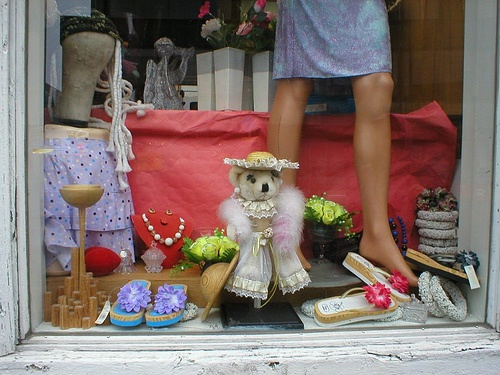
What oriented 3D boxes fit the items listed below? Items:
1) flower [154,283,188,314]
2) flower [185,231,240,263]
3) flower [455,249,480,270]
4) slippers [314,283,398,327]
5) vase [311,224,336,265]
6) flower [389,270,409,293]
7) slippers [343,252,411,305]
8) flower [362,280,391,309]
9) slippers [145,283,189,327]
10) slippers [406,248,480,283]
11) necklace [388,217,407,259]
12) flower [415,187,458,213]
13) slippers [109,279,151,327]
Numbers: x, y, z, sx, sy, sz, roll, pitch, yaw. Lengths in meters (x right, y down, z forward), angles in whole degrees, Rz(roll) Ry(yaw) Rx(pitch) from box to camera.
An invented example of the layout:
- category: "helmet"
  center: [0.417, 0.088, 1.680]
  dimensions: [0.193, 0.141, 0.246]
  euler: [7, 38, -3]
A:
- category: "flower"
  center: [-0.302, 0.428, 2.032]
  dimensions: [0.078, 0.048, 0.130]
  euler: [2, 20, 2]
- category: "flower"
  center: [-0.159, 0.224, 2.171]
  dimensions: [0.182, 0.100, 0.197]
  euler: [8, 4, -4]
- category: "flower"
  center: [0.871, 0.296, 2.143]
  dimensions: [0.093, 0.069, 0.040]
  euler: [0, 6, 22]
- category: "slippers"
  center: [0.411, 0.467, 2.104]
  dimensions: [0.285, 0.094, 0.156]
  euler: [-8, 24, -6]
- category: "vase"
  center: [0.302, 0.225, 2.217]
  dimensions: [0.099, 0.173, 0.109]
  euler: [-4, -19, 28]
- category: "flower"
  center: [0.595, 0.386, 2.177]
  dimensions: [0.072, 0.027, 0.075]
  euler: [32, 37, -13]
- category: "slippers"
  center: [0.543, 0.344, 2.192]
  dimensions: [0.310, 0.085, 0.124]
  euler: [38, 33, 17]
- category: "flower"
  center: [0.505, 0.421, 2.098]
  dimensions: [0.084, 0.040, 0.084]
  euler: [26, 47, 37]
- category: "slippers"
  center: [-0.330, 0.468, 2.080]
  dimensions: [0.123, 0.093, 0.239]
  euler: [-3, 1, -9]
- category: "slippers"
  center: [0.777, 0.318, 2.179]
  dimensions: [0.272, 0.083, 0.094]
  euler: [24, -6, 20]
- category: "necklace"
  center: [0.622, 0.206, 2.244]
  dimensions: [0.086, 0.154, 0.033]
  euler: [3, -12, -44]
- category: "flower"
  center: [0.778, 0.053, 2.225]
  dimensions: [0.159, 0.098, 0.022]
  euler: [0, 5, 18]
- category: "slippers"
  center: [-0.447, 0.448, 2.059]
  dimensions: [0.138, 0.151, 0.189]
  euler: [1, 6, 26]
